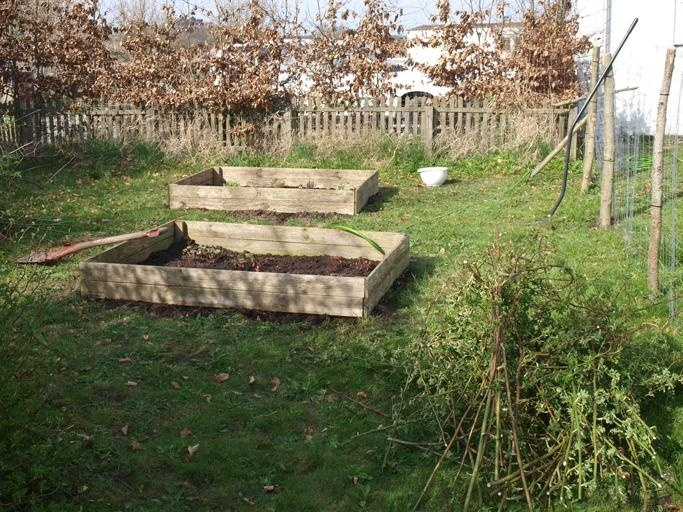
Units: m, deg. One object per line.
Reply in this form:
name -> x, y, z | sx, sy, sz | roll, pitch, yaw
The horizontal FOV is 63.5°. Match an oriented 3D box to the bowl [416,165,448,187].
bowl -> 1.820, -1.613, 10.841 | 0.418, 0.304, 0.479 | 6, 17, 27

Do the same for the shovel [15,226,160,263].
shovel -> -3.024, -0.147, 6.734 | 1.761, 0.392, 0.743 | 0, 11, 6
